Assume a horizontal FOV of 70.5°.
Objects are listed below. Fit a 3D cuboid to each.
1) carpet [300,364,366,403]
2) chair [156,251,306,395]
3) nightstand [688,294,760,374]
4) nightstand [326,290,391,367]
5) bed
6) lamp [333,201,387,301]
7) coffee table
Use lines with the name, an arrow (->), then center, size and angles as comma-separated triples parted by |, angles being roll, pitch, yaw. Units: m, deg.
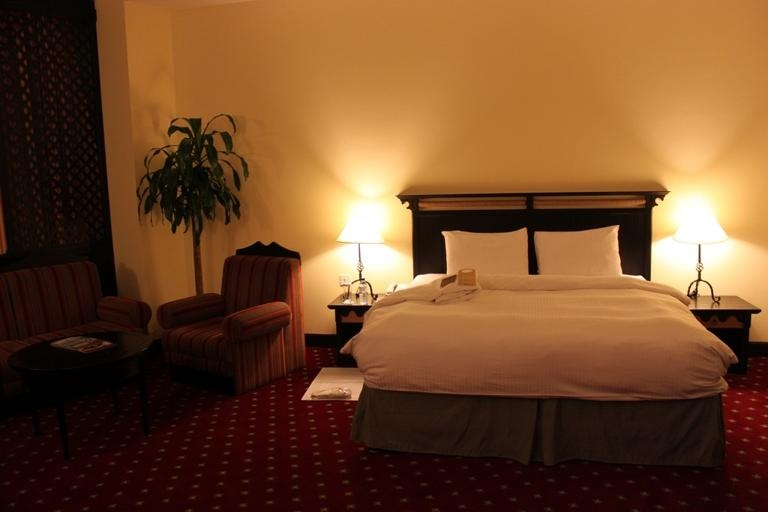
carpet -> -0.423, 1.191, 5.204 | 0.589, 0.085, 0.691 | 1, 14, 2
chair -> -1.496, 0.570, 5.406 | 1.264, 1.264, 1.141 | 5, 10, 39
nightstand -> 3.315, 0.664, 5.508 | 0.794, 0.787, 0.746 | -1, 13, 18
nightstand -> -0.236, 0.784, 5.637 | 0.601, 0.671, 0.604 | 0, 3, -1
bed -> 1.318, 0.336, 4.681 | 1.979, 1.202, 2.004 | 0, 11, 12
lamp -> -0.267, 0.044, 5.815 | 0.459, 0.881, 0.444 | 2, -9, -33
coffee table -> -2.391, 0.925, 4.353 | 0.944, 0.711, 0.929 | -6, 16, -20
